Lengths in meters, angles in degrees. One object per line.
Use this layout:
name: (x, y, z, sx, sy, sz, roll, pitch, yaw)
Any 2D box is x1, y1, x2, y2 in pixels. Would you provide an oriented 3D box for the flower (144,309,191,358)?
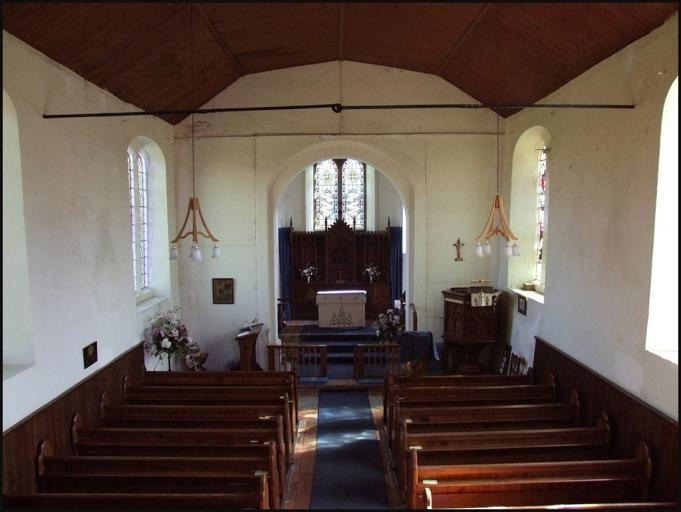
flower: (-3.655, 1.689, 12.735, 0.788, 1.181, 0.885, 0, 5, -8)

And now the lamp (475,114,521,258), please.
lamp: (3.239, -1.452, 12.351, 0.889, 2.867, 0.845, 0, 1, -44)

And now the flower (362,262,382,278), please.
flower: (0.997, 0.478, 19.313, 0.423, 0.497, 0.268, 1, -3, -8)

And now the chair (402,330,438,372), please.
chair: (1.732, 2.149, 13.485, 0.755, 0.886, 0.836, 0, -1, -1)

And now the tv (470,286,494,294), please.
tv: (3.088, 0.737, 13.121, 0.498, 0.142, 0.124, -1, 3, 3)

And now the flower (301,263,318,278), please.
flower: (-0.998, 0.474, 19.297, 0.387, 0.384, 0.421, -1, -4, 6)

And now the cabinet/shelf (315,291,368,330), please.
cabinet/shelf: (0.064, 1.219, 17.241, 1.385, 1.156, 0.912, 0, 4, 4)

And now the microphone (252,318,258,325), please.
microphone: (-2.061, 1.589, 14.491, 0.102, 0.225, 0.112, -1, 5, 0)
